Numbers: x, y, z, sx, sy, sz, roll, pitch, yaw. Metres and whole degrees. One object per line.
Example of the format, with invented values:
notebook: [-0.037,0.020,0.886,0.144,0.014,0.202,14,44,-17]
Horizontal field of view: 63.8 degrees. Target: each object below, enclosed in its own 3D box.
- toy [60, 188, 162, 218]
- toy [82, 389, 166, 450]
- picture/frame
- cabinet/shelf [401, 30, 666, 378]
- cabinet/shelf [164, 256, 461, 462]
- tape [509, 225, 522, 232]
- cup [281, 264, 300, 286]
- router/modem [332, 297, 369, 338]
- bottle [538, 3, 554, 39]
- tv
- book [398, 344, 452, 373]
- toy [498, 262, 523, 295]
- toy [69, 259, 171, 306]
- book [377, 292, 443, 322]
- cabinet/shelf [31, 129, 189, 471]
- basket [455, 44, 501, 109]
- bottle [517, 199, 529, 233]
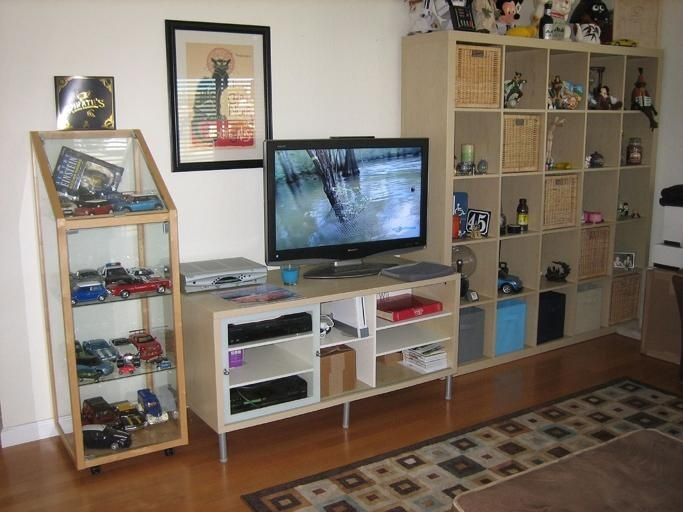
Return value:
toy: [-1.192,-0.281,2.859,0.482,0.133,0.192,-11,15,-25]
toy: [-1.232,0.879,2.988,0.348,0.096,0.250,8,17,33]
picture/frame: [-0.745,-0.987,3.419,0.745,0.908,0.051,-12,16,-26]
cabinet/shelf: [1.420,-0.399,4.175,2.613,2.270,0.652,-10,18,-28]
cabinet/shelf: [-0.063,0.596,3.512,1.749,0.810,0.523,-6,8,-33]
tape: [1.330,-0.214,4.178,0.061,0.035,0.060,-9,16,-38]
cup: [-0.308,0.117,3.333,0.120,0.097,0.106,1,14,10]
router/modem: [0.069,0.377,3.352,0.093,0.209,0.243,-13,16,-42]
bottle: [1.549,-1.749,4.085,0.185,0.268,0.090,-17,18,-38]
tv: [0.055,-0.302,3.628,1.245,0.880,0.318,-6,13,-30]
book: [0.610,0.668,3.731,0.251,0.078,0.190,-10,15,-35]
toy: [1.374,0.184,4.248,0.293,0.160,0.159,7,19,31]
toy: [-1.171,0.139,2.896,0.371,0.105,0.219,-9,25,-24]
book: [0.415,0.341,3.621,0.228,0.045,0.227,-11,15,-41]
cabinet/shelf: [-1.206,0.215,3.020,0.711,1.772,0.552,-10,15,-16]
basket: [1.012,-1.283,4.059,0.292,0.481,0.509,2,18,11]
bottle: [1.411,-0.310,4.247,0.095,0.245,0.224,0,15,20]
